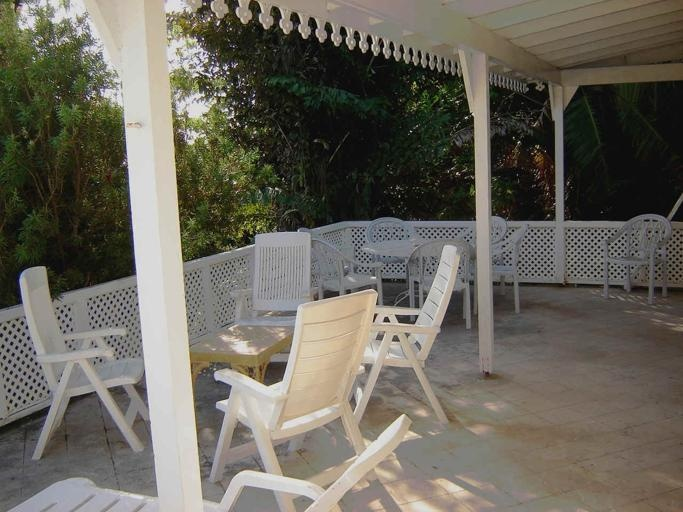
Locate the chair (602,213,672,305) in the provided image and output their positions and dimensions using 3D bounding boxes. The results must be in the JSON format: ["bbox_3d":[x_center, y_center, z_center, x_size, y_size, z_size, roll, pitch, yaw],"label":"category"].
[{"bbox_3d":[4.762,-0.035,8.225,0.915,1.295,1.431,4,11,33],"label":"chair"}]
